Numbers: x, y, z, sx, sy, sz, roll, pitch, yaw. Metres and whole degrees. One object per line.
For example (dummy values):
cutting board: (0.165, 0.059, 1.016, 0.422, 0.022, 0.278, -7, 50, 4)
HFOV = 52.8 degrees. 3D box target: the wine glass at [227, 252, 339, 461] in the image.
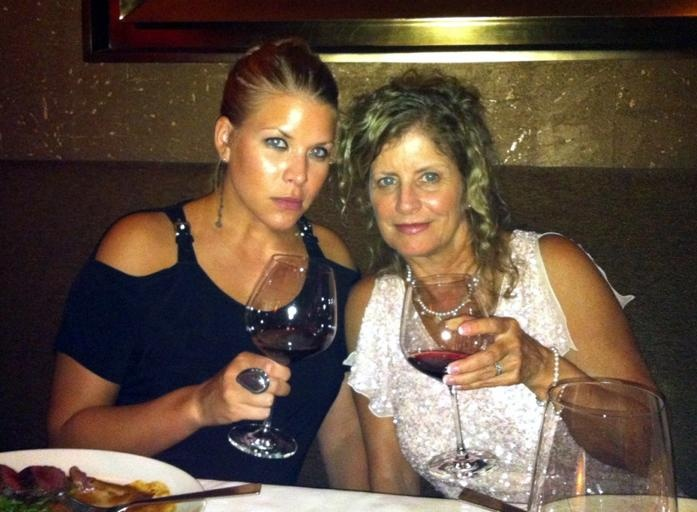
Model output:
wine glass: (-0.205, 0.332, 1.994, 0.331, 0.622, 0.323, -1, 19, 10)

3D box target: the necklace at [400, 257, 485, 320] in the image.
necklace: (0.269, 0.094, 1.997, 0.165, 0.136, 0.153, -5, -5, 0)

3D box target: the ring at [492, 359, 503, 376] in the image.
ring: (0.408, 0.304, 1.902, 0.041, 0.036, 0.040, 1, -3, 0)

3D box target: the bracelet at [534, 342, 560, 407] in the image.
bracelet: (0.596, 0.345, 2.093, 0.055, 0.142, 0.182, 19, 42, -2)
